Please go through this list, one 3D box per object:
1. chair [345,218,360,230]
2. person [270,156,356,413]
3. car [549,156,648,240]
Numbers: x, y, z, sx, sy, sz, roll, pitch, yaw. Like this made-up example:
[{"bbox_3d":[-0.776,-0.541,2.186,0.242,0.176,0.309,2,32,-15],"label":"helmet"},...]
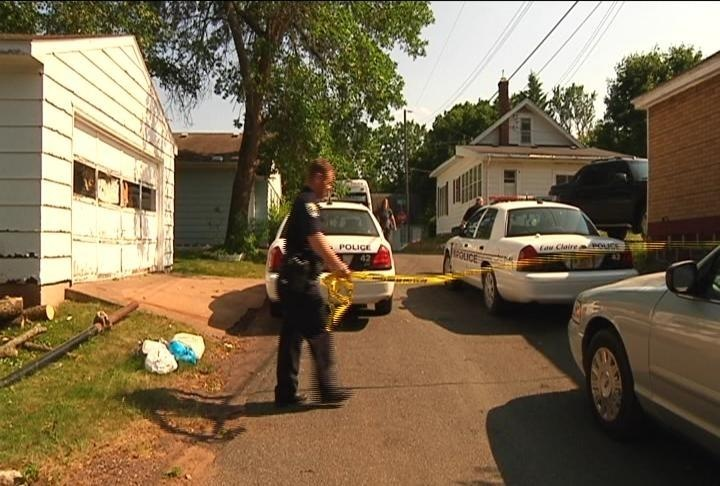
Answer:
[{"bbox_3d":[-0.121,-0.362,10.425,0.237,0.191,0.143,1,9,3],"label":"chair"},{"bbox_3d":[-0.591,0.526,7.001,0.807,2.963,1.054,8,16,30],"label":"person"},{"bbox_3d":[6.886,-1.265,16.297,2.741,1.509,1.546,-3,-1,45],"label":"car"}]
